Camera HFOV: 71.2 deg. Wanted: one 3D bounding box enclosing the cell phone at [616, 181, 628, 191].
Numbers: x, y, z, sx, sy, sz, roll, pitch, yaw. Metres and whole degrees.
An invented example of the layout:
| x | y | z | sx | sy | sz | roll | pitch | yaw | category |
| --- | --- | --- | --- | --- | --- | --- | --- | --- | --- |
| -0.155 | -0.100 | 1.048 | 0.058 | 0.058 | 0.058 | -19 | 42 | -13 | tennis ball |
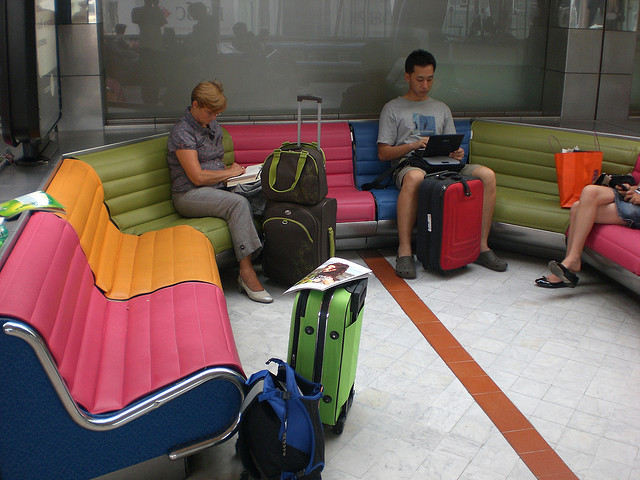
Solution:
| x | y | z | sx | sy | sz | roll | pitch | yaw | category |
| --- | --- | --- | --- | --- | --- | --- | --- | --- | --- |
| 2.369 | -0.415 | 3.483 | 0.050 | 0.072 | 0.067 | 10 | 1 | 14 | cell phone |

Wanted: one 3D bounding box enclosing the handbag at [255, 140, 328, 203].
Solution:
| x | y | z | sx | sy | sz | roll | pitch | yaw | category |
| --- | --- | --- | --- | --- | --- | --- | --- | --- | --- |
| -0.252 | -0.511 | 3.389 | 0.572 | 0.419 | 0.340 | 3 | 21 | 7 | handbag |

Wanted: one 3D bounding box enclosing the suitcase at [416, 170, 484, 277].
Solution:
| x | y | z | sx | sy | sz | roll | pitch | yaw | category |
| --- | --- | --- | --- | --- | --- | --- | --- | --- | --- |
| 1.118 | -0.143 | 3.840 | 0.545 | 0.847 | 0.413 | -10 | 18 | -31 | suitcase |

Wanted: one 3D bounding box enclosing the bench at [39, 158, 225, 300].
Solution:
| x | y | z | sx | sy | sz | roll | pitch | yaw | category |
| --- | --- | --- | --- | --- | --- | --- | --- | --- | --- |
| -1.075 | 0.067 | 2.699 | 0.962 | 0.599 | 0.967 | 0 | 23 | -11 | bench |

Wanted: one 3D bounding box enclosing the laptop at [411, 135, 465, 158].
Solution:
| x | y | z | sx | sy | sz | roll | pitch | yaw | category |
| --- | --- | --- | --- | --- | --- | --- | --- | --- | --- |
| 1.089 | -0.835 | 3.991 | 0.286 | 0.178 | 0.248 | -4 | 22 | -17 | laptop |

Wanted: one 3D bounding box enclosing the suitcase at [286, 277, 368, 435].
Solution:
| x | y | z | sx | sy | sz | roll | pitch | yaw | category |
| --- | --- | --- | --- | --- | --- | --- | --- | --- | --- |
| 0.024 | 0.599 | 2.300 | 0.396 | 0.725 | 0.464 | 10 | 8 | 18 | suitcase |

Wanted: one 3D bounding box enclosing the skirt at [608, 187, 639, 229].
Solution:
| x | y | z | sx | sy | sz | roll | pitch | yaw | category |
| --- | --- | --- | --- | --- | --- | --- | --- | --- | --- |
| 2.334 | -0.234 | 3.386 | 0.191 | 0.246 | 0.191 | 10 | 21 | 29 | skirt |

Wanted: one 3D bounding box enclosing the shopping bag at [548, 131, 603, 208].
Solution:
| x | y | z | sx | sy | sz | roll | pitch | yaw | category |
| --- | --- | --- | --- | --- | --- | --- | --- | --- | --- |
| 2.256 | -0.538 | 3.922 | 0.427 | 0.450 | 0.245 | -9 | 20 | -23 | shopping bag |

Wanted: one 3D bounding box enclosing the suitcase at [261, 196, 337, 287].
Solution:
| x | y | z | sx | sy | sz | roll | pitch | yaw | category |
| --- | --- | --- | --- | --- | --- | --- | --- | --- | --- |
| -0.152 | -0.005 | 3.241 | 0.520 | 0.594 | 0.362 | 13 | 18 | 28 | suitcase |
